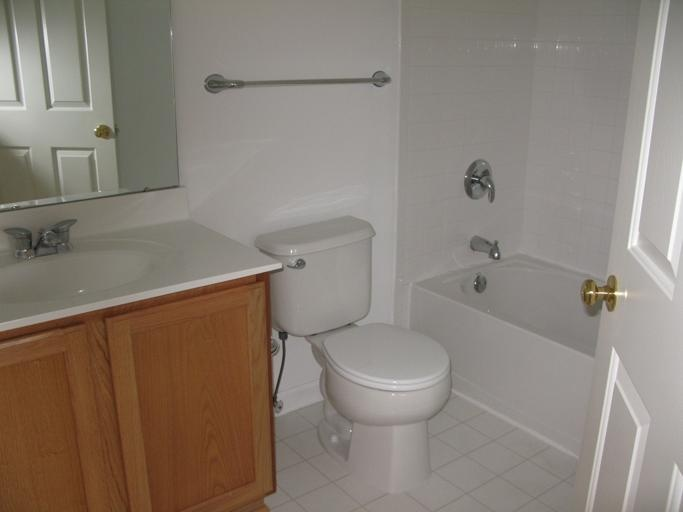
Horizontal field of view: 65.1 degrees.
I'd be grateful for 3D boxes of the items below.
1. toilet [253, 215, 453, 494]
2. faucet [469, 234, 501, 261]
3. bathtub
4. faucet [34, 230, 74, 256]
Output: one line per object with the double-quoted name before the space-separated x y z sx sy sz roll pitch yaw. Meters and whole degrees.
"toilet" 0.173 0.237 2.468 0.692 1.173 1.047 -17 24 -37
"faucet" 0.758 -0.052 2.821 0.095 0.095 0.172 -25 37 -21
"bathtub" 0.890 0.369 2.625 0.697 0.445 0.990 -12 20 -38
"faucet" -0.908 -0.042 1.686 0.097 0.073 0.064 -11 27 -30
